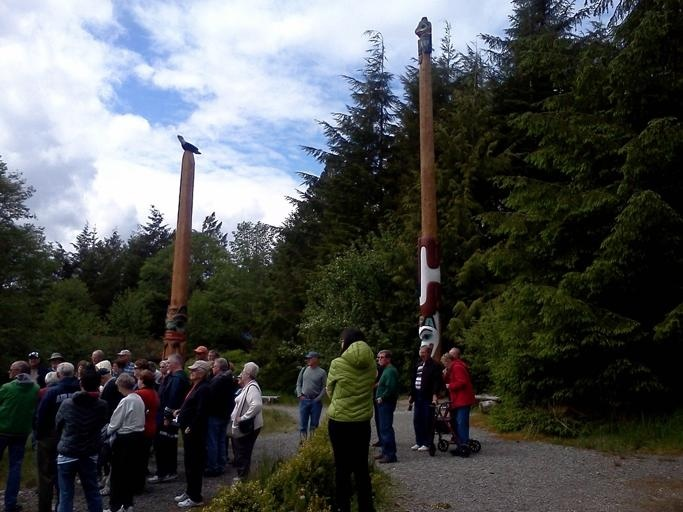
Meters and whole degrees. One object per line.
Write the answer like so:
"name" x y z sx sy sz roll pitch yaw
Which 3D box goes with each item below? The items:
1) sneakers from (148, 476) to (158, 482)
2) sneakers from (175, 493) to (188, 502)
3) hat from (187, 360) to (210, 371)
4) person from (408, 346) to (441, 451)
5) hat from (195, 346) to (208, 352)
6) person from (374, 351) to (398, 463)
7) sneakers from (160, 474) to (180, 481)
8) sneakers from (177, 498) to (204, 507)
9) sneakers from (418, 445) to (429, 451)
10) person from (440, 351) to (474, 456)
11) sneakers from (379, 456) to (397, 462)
"sneakers" -3.677 4.326 12.941 0.243 0.116 0.103 -5 -16 35
"sneakers" -2.848 4.248 11.793 0.146 0.172 0.428 45 -17 0
"hat" -2.604 2.012 12.194 0.274 0.122 0.190 2 -8 -2
"person" 1.766 3.032 13.986 0.641 2.148 0.650 2 1 13
"hat" -2.940 1.963 13.955 0.207 0.133 0.313 -3 -13 27
"person" 0.936 3.023 13.610 0.480 2.056 1.054 2 0 3
"sneakers" -3.383 4.325 13.001 0.274 0.129 0.105 5 -12 -14
"sneakers" -2.615 4.263 11.509 0.416 0.186 0.165 3 -12 3
"sneakers" 1.753 4.081 14.168 0.244 0.119 0.096 0 -15 17
"person" 2.459 3.038 13.907 0.575 2.128 0.638 2 1 11
"sneakers" 0.924 4.023 13.149 0.357 0.173 0.130 4 -7 7
